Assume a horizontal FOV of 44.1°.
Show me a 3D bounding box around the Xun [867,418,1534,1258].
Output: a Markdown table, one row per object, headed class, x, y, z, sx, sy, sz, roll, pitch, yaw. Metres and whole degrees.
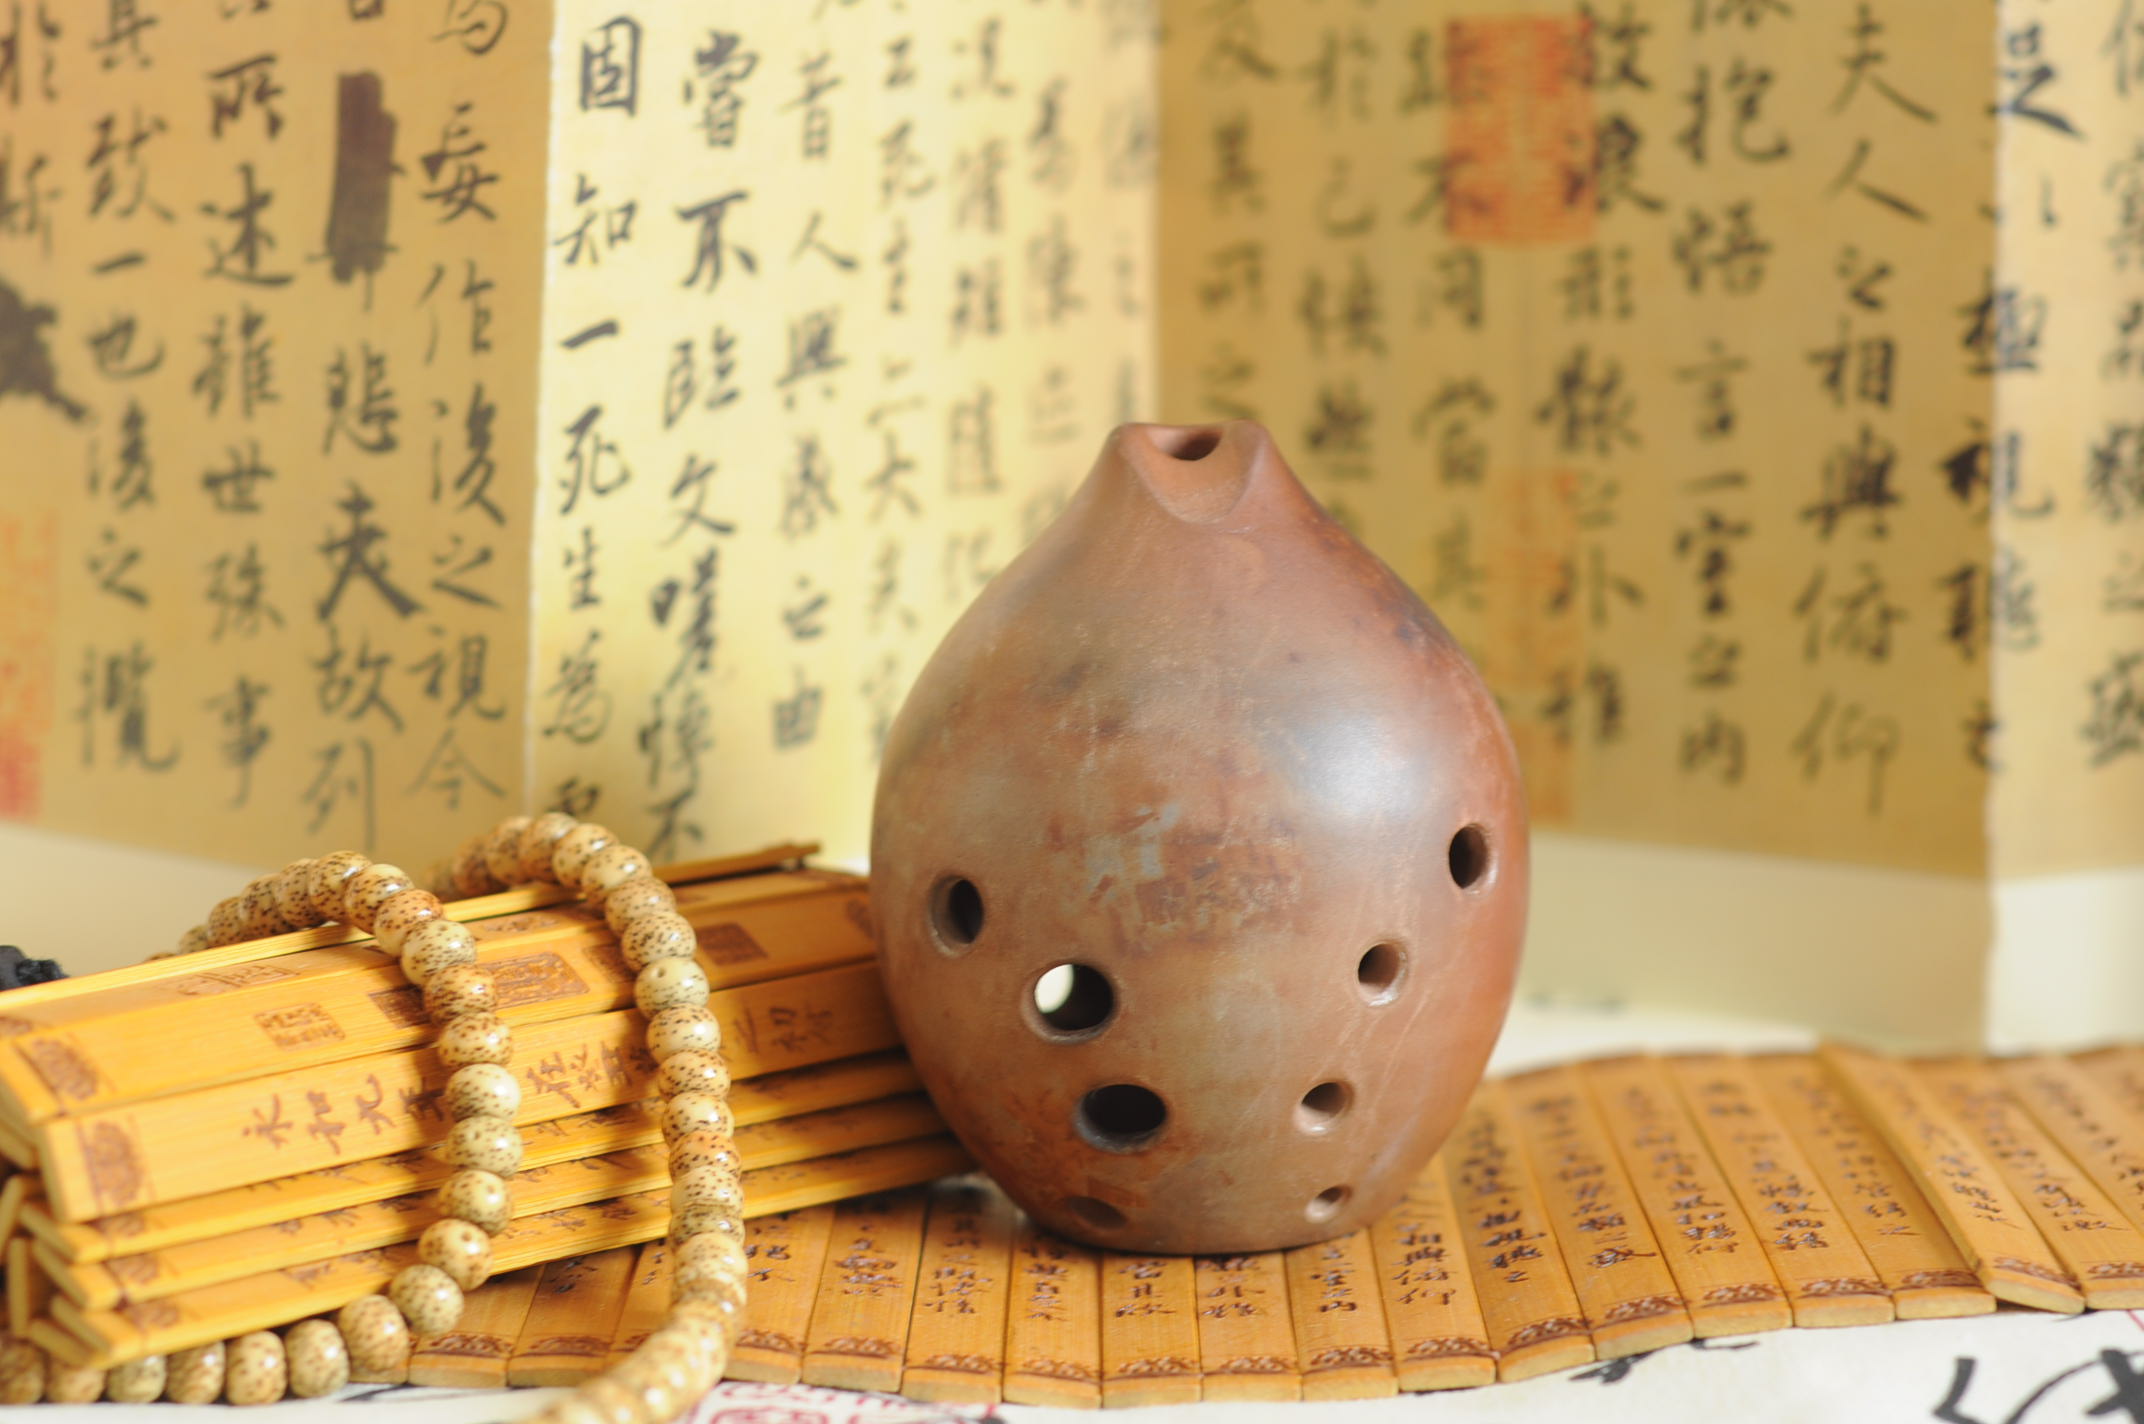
| class | x | y | z | sx | sy | sz | roll | pitch | yaw |
| --- | --- | --- | --- | --- | --- | --- | --- | --- | --- |
| Xun | 0.086 | 0.128 | 2.596 | 0.683 | 0.862 | 0.676 | -1 | -4 | 9 |
